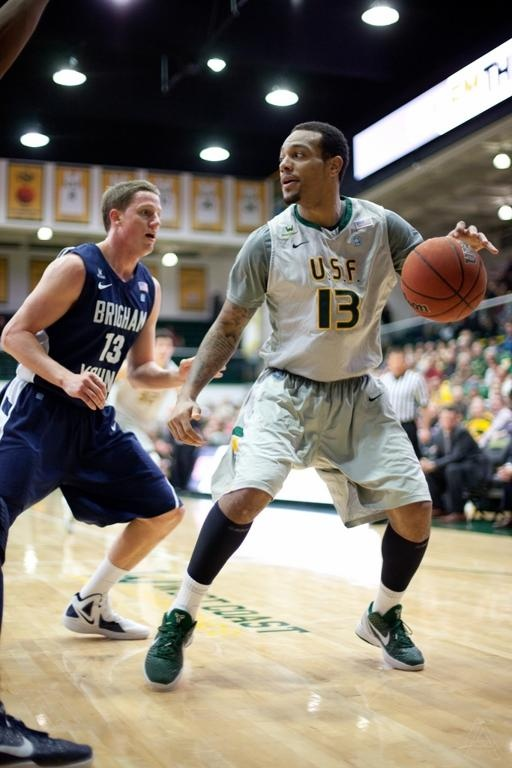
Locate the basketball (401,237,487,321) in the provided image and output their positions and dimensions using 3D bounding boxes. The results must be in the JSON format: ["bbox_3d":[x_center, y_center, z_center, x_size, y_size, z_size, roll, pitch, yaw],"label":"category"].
[{"bbox_3d":[0.536,-0.306,1.884,0.235,0.185,0.216,3,-1,14],"label":"basketball"}]

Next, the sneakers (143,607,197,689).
[{"bbox_3d":[-0.227,0.672,1.709,0.114,0.176,0.150,4,-1,2],"label":"sneakers"}]

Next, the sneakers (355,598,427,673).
[{"bbox_3d":[0.401,0.740,1.971,0.093,0.123,0.261,19,-2,-31],"label":"sneakers"}]

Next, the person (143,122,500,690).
[{"bbox_3d":[0.153,0.015,1.894,0.817,1.342,0.427,4,-1,-7],"label":"person"}]
